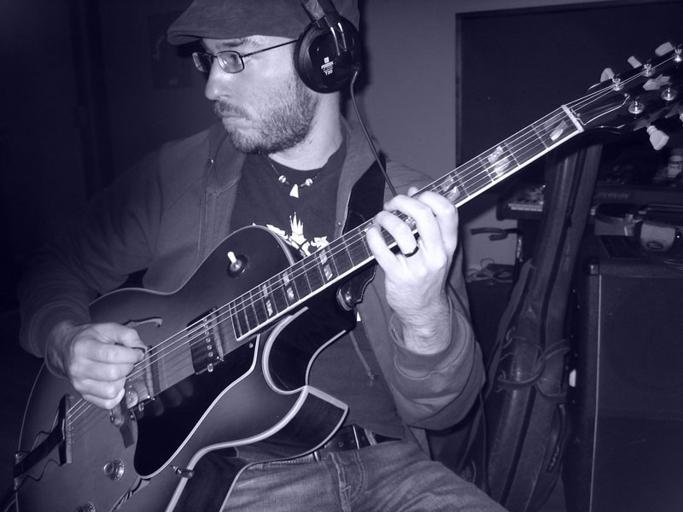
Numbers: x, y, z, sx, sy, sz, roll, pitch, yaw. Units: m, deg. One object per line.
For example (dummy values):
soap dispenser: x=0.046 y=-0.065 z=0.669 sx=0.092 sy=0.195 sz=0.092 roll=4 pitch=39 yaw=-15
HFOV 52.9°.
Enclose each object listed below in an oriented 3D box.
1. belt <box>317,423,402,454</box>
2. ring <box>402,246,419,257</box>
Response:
belt: x=0.071 y=0.619 z=2.360 sx=0.218 sy=0.119 sz=0.035 roll=7 pitch=-24 yaw=0
ring: x=0.205 y=-0.015 z=2.080 sx=0.032 sy=0.010 sz=0.035 roll=-34 pitch=1 yaw=1
